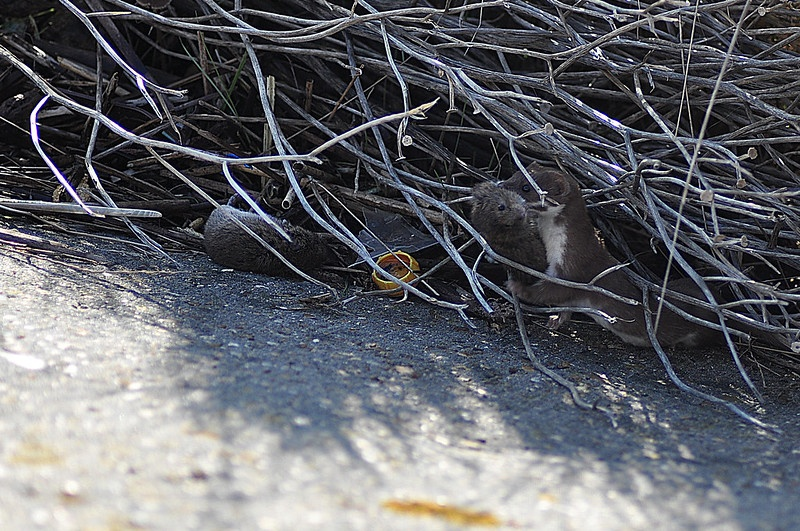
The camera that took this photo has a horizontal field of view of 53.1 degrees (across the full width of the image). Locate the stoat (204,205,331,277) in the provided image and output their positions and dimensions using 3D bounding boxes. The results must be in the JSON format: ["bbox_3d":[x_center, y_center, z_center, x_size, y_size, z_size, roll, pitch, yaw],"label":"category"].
[{"bbox_3d":[-0.921,-0.127,5.468,0.997,0.278,0.392,14,25,-20],"label":"stoat"}]
